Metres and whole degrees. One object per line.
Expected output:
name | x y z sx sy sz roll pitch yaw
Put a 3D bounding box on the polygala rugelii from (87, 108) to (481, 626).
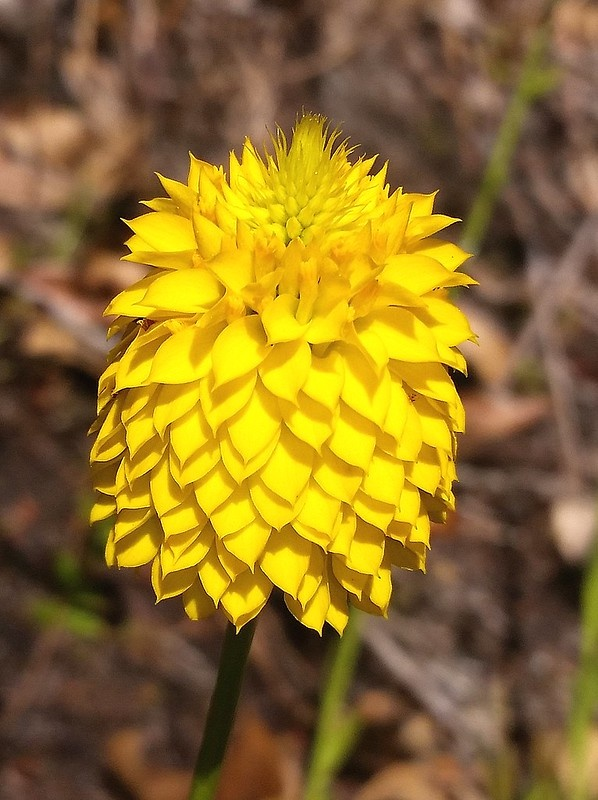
polygala rugelii | 0.006 -0.123 1.032 0.412 0.391 0.396 2 79 1
